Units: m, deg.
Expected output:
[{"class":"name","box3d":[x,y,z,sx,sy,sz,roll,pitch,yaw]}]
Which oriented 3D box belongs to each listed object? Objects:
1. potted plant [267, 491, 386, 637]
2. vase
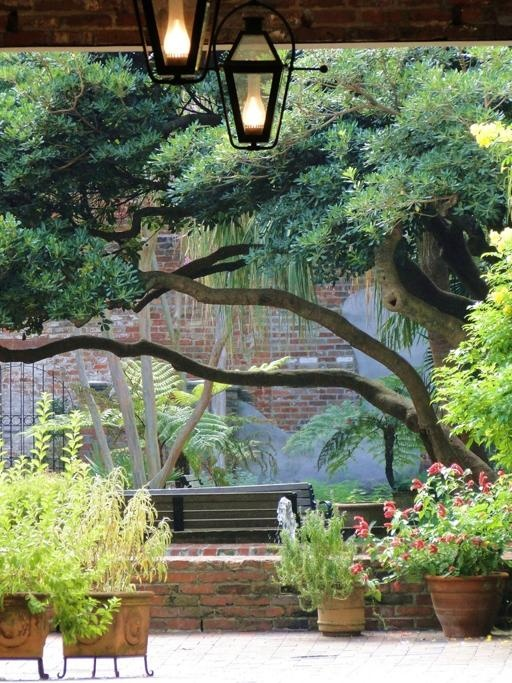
[{"class":"potted plant","box3d":[0.464,1.353,9.629,0.705,0.993,0.722,-1,-4,10]},{"class":"vase","box3d":[1.210,1.483,9.160,0.411,0.291,0.401,0,-13,-1]}]
